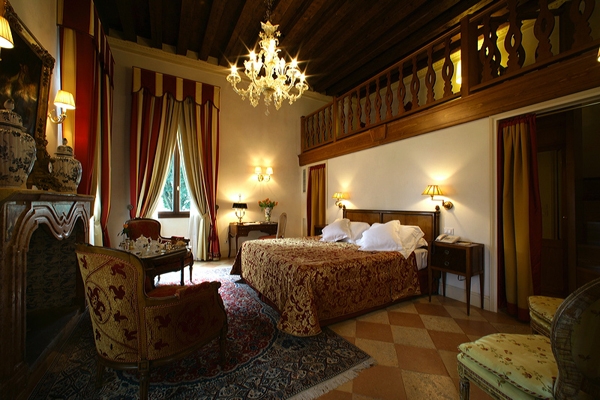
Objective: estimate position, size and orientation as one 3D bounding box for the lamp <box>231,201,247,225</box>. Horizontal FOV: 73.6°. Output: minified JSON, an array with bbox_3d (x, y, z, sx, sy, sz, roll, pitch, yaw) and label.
[{"bbox_3d":[-1.317,0.293,9.306,0.460,0.635,0.391,4,-8,-35],"label":"lamp"}]

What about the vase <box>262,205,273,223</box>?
[{"bbox_3d":[-0.733,0.345,9.680,0.305,0.494,0.299,-1,5,-42],"label":"vase"}]

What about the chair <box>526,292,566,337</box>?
[{"bbox_3d":[3.076,1.425,5.086,0.583,0.300,0.513,-1,-1,-23],"label":"chair"}]

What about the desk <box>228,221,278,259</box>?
[{"bbox_3d":[-1.138,1.094,9.380,1.447,1.107,0.705,2,-7,-34],"label":"desk"}]

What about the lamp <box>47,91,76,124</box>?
[{"bbox_3d":[-3.616,-1.395,6.079,0.326,0.461,0.589,0,-2,-33],"label":"lamp"}]

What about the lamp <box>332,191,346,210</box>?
[{"bbox_3d":[0.870,-0.004,8.983,0.319,0.422,0.330,4,-4,-19],"label":"lamp"}]

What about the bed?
[{"bbox_3d":[0.611,1.178,6.549,2.153,1.173,2.198,-3,3,-28],"label":"bed"}]

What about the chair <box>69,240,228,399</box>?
[{"bbox_3d":[-2.042,1.095,5.580,1.906,2.141,1.720,-2,-1,38],"label":"chair"}]

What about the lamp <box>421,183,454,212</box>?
[{"bbox_3d":[2.367,-0.021,6.923,0.466,0.484,0.384,-1,2,30],"label":"lamp"}]

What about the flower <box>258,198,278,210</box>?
[{"bbox_3d":[-0.804,0.092,9.635,0.271,0.200,0.297,5,-10,-41],"label":"flower"}]

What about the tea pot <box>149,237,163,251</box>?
[{"bbox_3d":[-2.303,0.719,6.377,0.130,0.221,0.220,-5,-15,9],"label":"tea pot"}]

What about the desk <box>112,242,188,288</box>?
[{"bbox_3d":[-2.273,1.116,6.525,1.055,0.556,0.914,-4,4,44],"label":"desk"}]

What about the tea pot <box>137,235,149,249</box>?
[{"bbox_3d":[-2.460,0.650,6.296,0.186,0.244,0.177,-1,3,0],"label":"tea pot"}]
